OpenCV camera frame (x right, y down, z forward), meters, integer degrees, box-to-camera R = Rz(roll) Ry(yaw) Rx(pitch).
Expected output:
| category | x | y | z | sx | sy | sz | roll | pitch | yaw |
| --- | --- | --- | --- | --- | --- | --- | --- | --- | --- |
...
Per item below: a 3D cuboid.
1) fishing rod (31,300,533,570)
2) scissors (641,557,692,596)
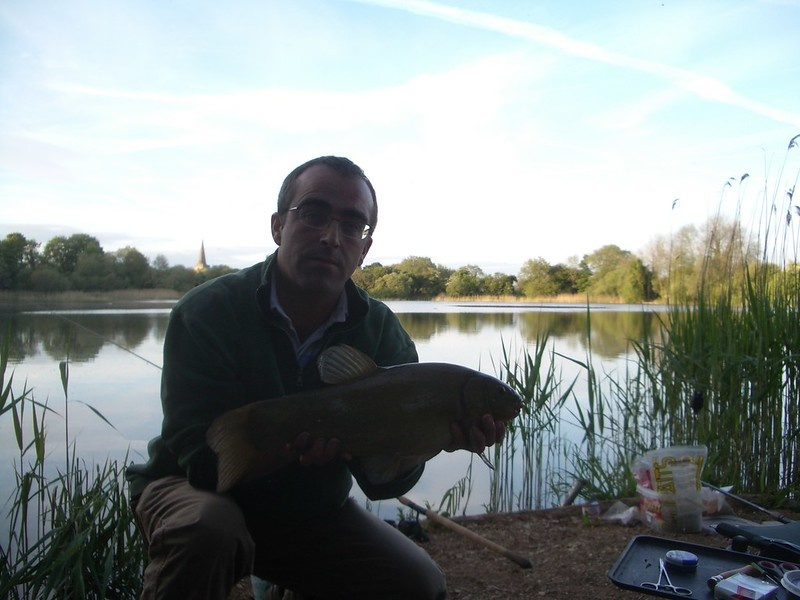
| category | x | y | z | sx | sy | sz | roll | pitch | yaw |
| --- | --- | --- | --- | --- | --- | --- | --- | --- | --- |
| fishing rod | -1.033 | 1.148 | 5.310 | 3.815 | 0.149 | 0.140 | 34 | -18 | 4 |
| scissors | 1.840 | 1.927 | 4.561 | 0.312 | 0.144 | 0.373 | 1 | -4 | 36 |
